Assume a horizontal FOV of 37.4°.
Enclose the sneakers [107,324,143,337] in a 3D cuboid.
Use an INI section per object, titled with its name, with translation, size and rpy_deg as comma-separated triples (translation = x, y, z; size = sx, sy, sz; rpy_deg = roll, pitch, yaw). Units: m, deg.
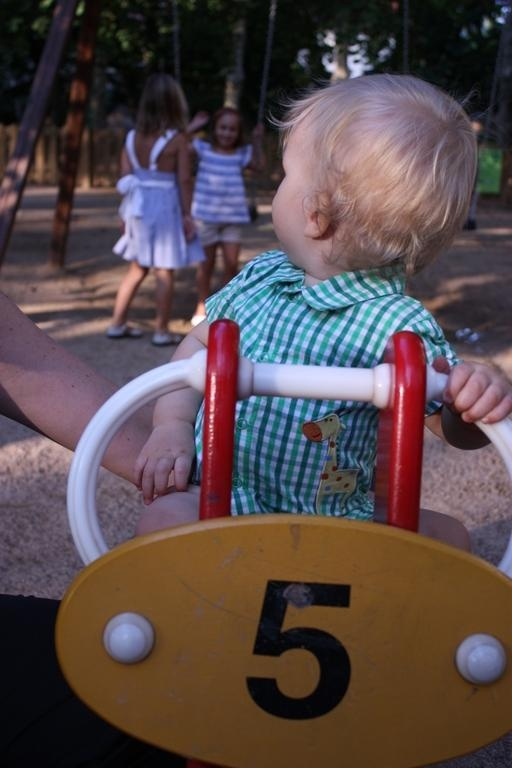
[sneakers]
translation = -0.564, -0.230, 3.224
size = 0.157, 0.063, 0.058
rpy_deg = -4, 6, -36
